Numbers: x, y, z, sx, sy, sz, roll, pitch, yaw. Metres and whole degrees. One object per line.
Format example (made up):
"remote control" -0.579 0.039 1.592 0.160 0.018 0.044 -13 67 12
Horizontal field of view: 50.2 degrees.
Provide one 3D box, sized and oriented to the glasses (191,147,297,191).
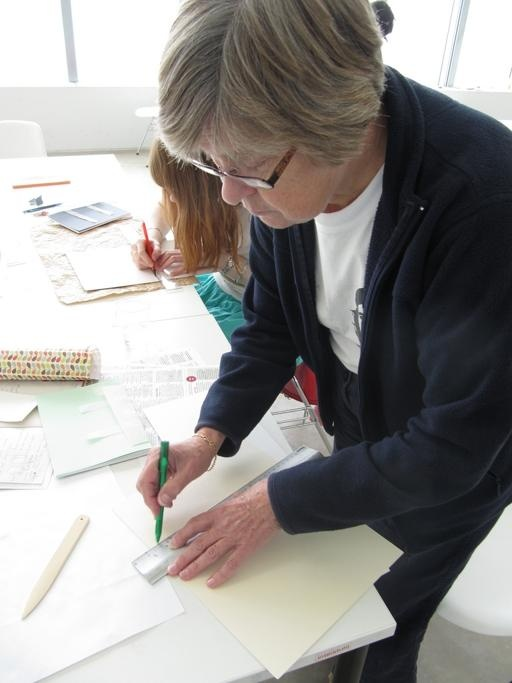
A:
"glasses" -0.029 -0.242 0.752 0.072 0.068 0.160 -20 38 -37
